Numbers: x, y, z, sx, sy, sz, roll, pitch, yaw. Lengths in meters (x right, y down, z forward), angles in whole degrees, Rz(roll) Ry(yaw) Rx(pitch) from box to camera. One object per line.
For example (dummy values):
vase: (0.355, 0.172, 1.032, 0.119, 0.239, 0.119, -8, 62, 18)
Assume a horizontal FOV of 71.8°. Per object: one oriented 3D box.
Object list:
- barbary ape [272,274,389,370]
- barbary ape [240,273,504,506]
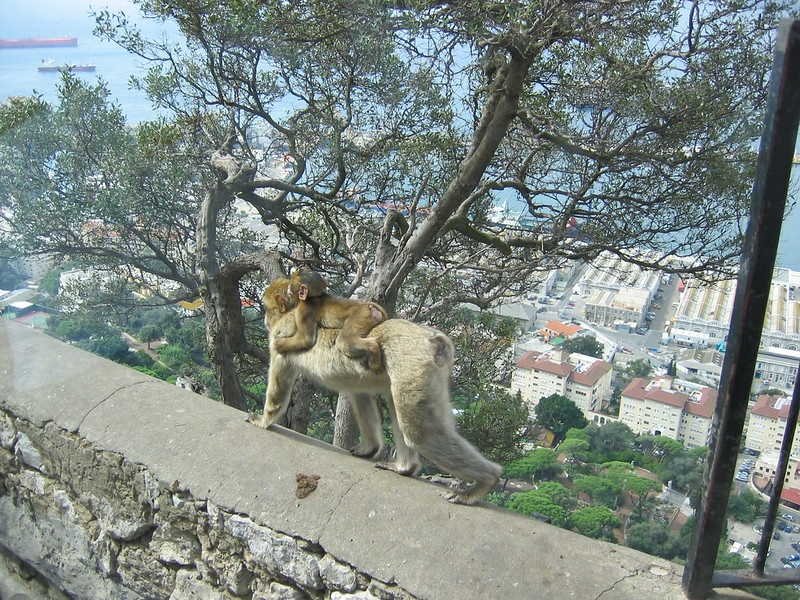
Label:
barbary ape: (-0.362, 0.117, 3.408, 0.797, 0.514, 0.392, 24, 51, 29)
barbary ape: (-0.268, 0.458, 3.455, 1.959, 1.134, 0.497, 6, 5, 41)
